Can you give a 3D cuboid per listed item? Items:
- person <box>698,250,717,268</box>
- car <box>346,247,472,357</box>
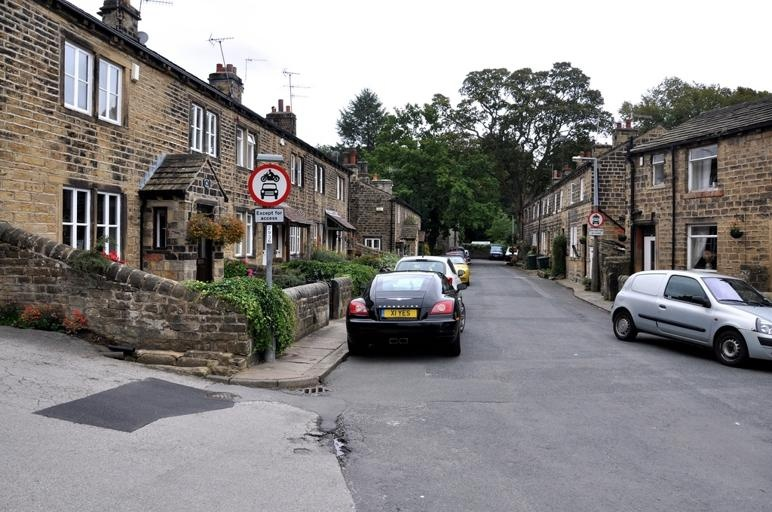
[{"bbox_3d":[12.127,0.167,25.513,0.531,0.856,0.513,1,3,1],"label":"person"},{"bbox_3d":[0.419,1.426,15.199,2.481,1.729,1.459,2,8,0],"label":"car"}]
